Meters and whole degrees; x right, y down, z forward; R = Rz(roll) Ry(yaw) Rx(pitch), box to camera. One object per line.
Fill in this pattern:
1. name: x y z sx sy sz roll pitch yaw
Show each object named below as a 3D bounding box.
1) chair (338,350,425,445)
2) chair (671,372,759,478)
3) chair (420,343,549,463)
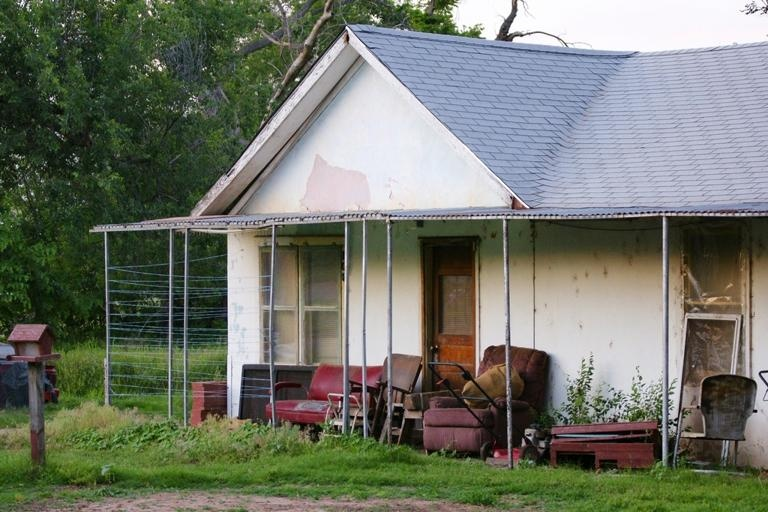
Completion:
1. chair: -0.080 2.729 25.229 1.502 1.589 1.184 0 1 -44
2. chair: 5.868 2.998 23.648 1.469 1.760 1.466 8 -6 -40
3. chair: 1.936 2.706 24.944 1.883 2.096 2.350 0 -4 32
